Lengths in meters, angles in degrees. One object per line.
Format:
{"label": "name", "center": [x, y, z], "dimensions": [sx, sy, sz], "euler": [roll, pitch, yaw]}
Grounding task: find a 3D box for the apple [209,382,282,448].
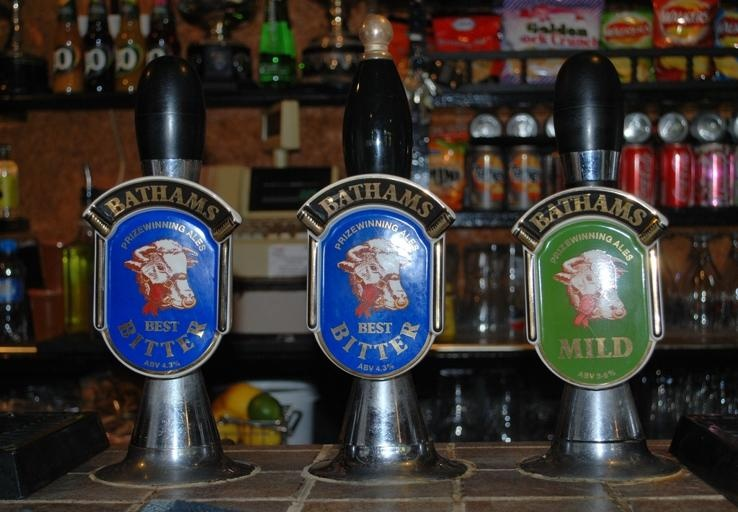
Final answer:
{"label": "apple", "center": [-0.321, 0.419, 2.829], "dimensions": [0.171, 0.123, 0.229], "euler": [4, -6, -5]}
